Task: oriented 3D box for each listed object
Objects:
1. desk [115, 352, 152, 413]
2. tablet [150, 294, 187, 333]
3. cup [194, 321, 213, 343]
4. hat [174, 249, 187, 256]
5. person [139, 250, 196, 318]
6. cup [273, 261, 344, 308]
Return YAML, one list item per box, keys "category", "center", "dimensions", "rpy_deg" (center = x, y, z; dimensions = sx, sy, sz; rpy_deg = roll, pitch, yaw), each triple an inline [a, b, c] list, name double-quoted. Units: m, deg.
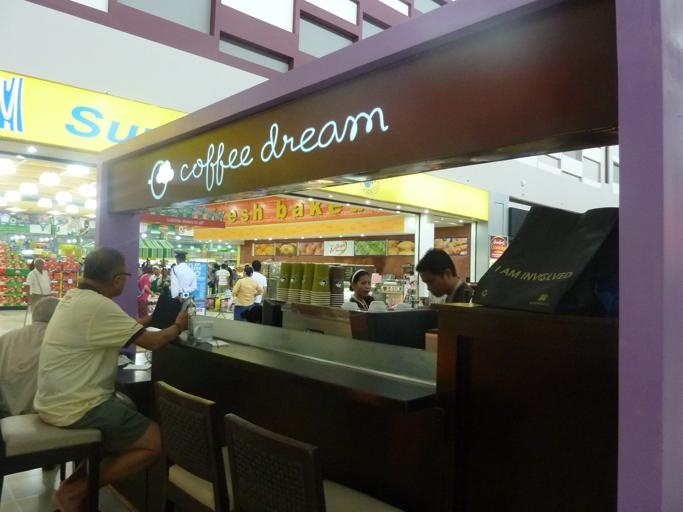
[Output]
- category: "desk"
  center: [-1.367, 0.837, 3.531]
  dimensions: [0.240, 0.234, 0.451]
  rpy_deg: [6, -3, -33]
- category: "tablet"
  center: [-1.156, 0.376, 3.634]
  dimensions: [0.228, 0.247, 0.057]
  rpy_deg: [5, -13, 32]
- category: "cup"
  center: [-0.842, 0.469, 3.285]
  dimensions: [0.128, 0.129, 0.070]
  rpy_deg: [0, 1, -44]
- category: "hat"
  center: [-3.895, -0.089, 12.976]
  dimensions: [0.251, 0.123, 0.367]
  rpy_deg: [0, 0, 0]
- category: "person"
  center: [-2.782, 0.402, 8.512]
  dimensions: [0.363, 0.366, 0.942]
  rpy_deg: [11, 19, 3]
- category: "cup"
  center: [-0.253, 0.229, 4.484]
  dimensions: [0.497, 0.323, 0.578]
  rpy_deg: [1, 1, -15]
